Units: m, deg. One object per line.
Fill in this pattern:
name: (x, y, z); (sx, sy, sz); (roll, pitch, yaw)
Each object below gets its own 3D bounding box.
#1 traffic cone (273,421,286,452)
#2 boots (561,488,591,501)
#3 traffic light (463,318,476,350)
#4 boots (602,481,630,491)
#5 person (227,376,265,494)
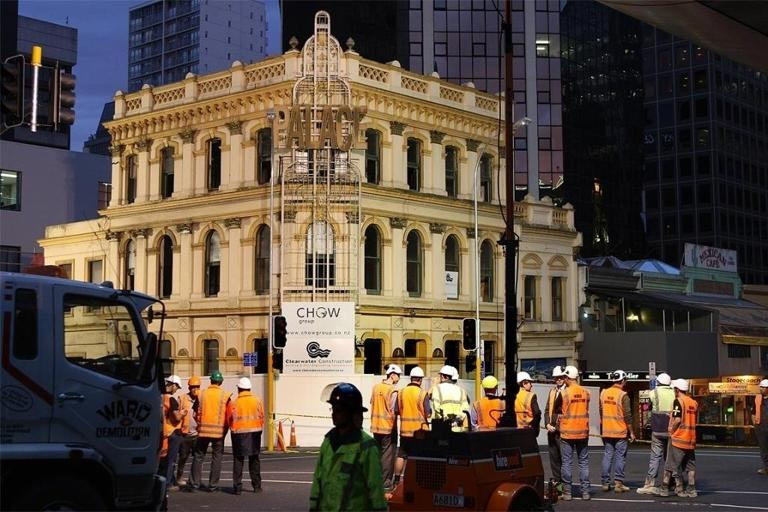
traffic cone: (-4.993, 8.218, 60.009); (1.025, 1.326, 0.994); (-3, -8, 0)
boots: (6.615, 8.336, 46.039); (1.135, 0.449, 0.369); (3, -4, -6)
traffic light: (3.757, 3.433, 57.827); (0.531, 1.341, 1.037); (0, -9, 0)
boots: (8.204, 8.210, 47.040); (1.111, 0.443, 0.360); (0, 2, -8)
person: (-4.934, 6.335, 47.239); (1.194, 3.814, 1.368); (2, 3, 28)
